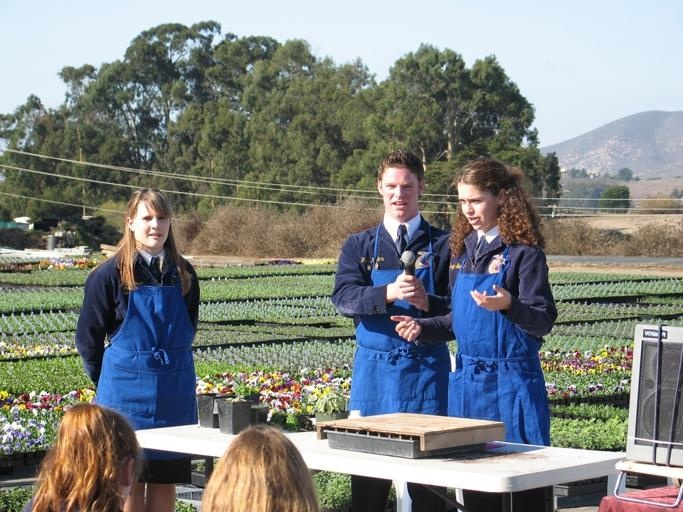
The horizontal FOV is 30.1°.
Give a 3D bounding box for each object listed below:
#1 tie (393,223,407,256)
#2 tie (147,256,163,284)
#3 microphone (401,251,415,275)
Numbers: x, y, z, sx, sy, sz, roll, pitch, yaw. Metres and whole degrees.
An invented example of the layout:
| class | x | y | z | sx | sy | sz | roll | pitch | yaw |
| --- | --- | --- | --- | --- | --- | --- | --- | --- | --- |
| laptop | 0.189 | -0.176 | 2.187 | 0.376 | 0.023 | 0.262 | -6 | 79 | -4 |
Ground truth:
| class | x | y | z | sx | sy | sz | roll | pitch | yaw |
| --- | --- | --- | --- | --- | --- | --- | --- | --- | --- |
| tie | 0.557 | -0.166 | 12.008 | 0.072 | 0.324 | 0.081 | 2 | -11 | 6 |
| tie | -1.762 | 0.127 | 11.992 | 0.115 | 0.247 | 0.058 | 0 | -6 | 0 |
| microphone | 0.597 | 0.061 | 11.497 | 0.113 | 0.196 | 0.270 | -1 | -1 | 1 |
